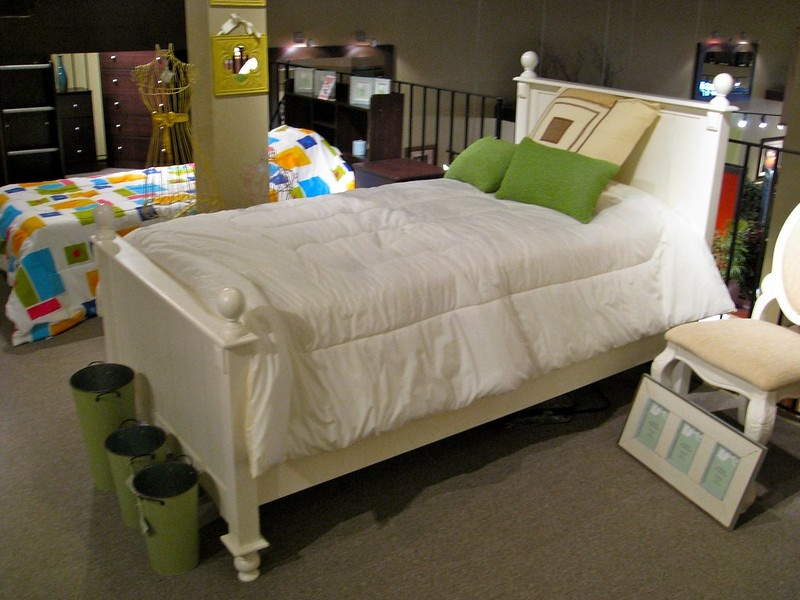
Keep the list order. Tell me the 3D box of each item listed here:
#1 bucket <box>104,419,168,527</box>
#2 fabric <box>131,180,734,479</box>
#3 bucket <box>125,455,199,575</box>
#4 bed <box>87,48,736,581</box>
[{"bbox_3d":[-0.966,0.611,2.012,0.284,0.293,0.207,24,28,31],"label":"bucket"},{"bbox_3d":[0.198,-0.038,2.354,1.936,0.509,1.323,-10,23,-26],"label":"fabric"},{"bbox_3d":[-0.815,0.740,1.926,0.242,0.300,0.269,1,10,12],"label":"bucket"},{"bbox_3d":[0.100,-0.459,3.006,3.255,2.000,1.941,-11,25,-27],"label":"bed"}]
